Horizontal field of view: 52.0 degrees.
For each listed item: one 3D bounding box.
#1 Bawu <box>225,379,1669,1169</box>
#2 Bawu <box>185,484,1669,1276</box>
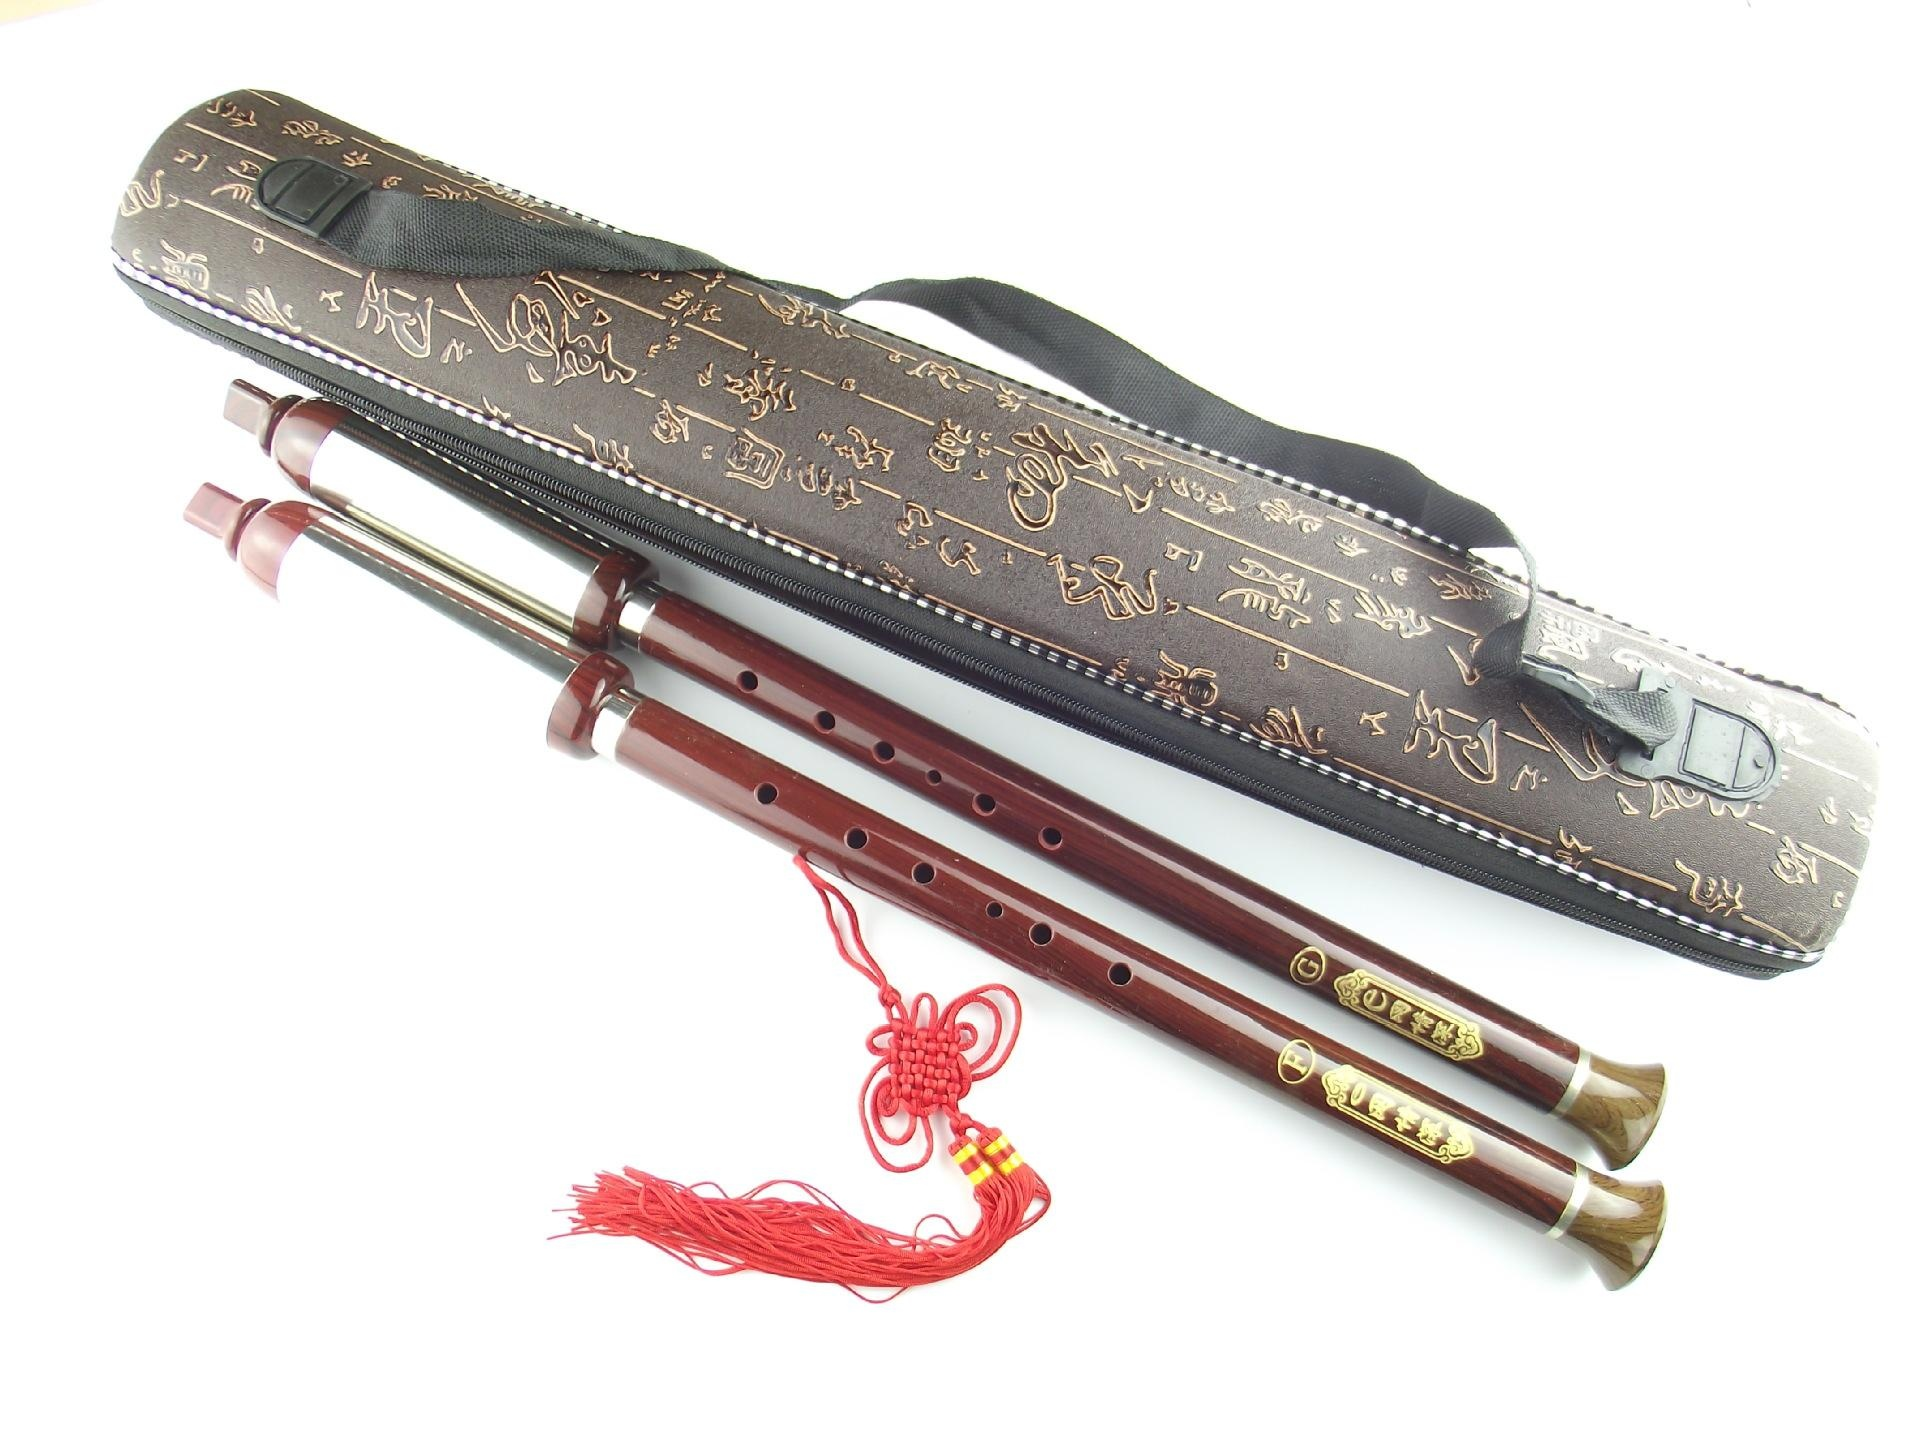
[{"bbox_3d":[-0.036,0.091,2.362,2.185,0.227,0.222,20,-71,-1],"label":"Bawu"},{"bbox_3d":[-0.023,0.214,2.353,1.927,0.183,0.224,23,-15,5],"label":"Bawu"}]
